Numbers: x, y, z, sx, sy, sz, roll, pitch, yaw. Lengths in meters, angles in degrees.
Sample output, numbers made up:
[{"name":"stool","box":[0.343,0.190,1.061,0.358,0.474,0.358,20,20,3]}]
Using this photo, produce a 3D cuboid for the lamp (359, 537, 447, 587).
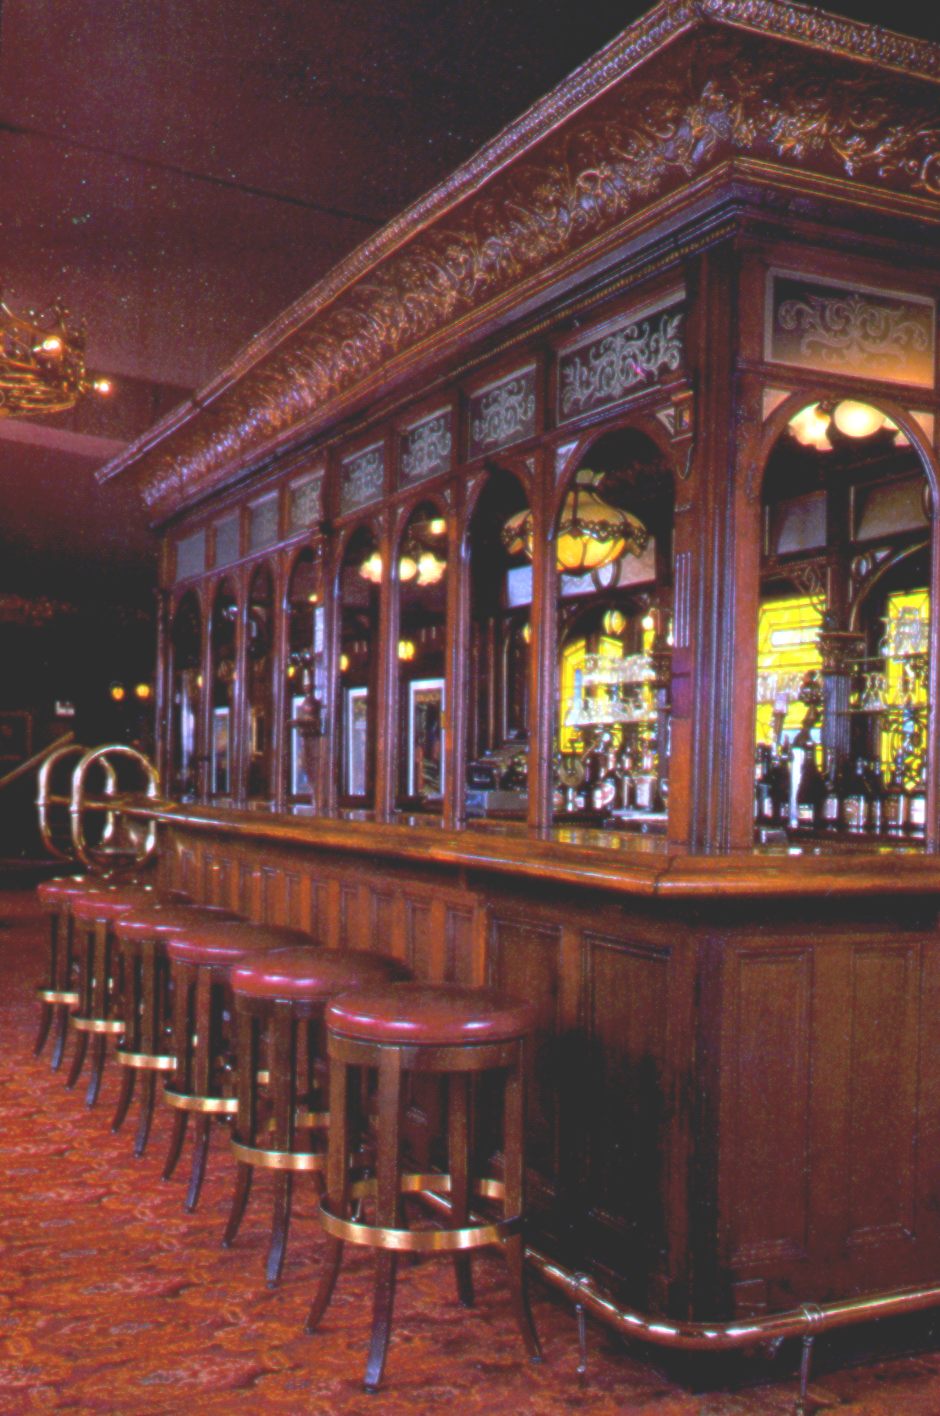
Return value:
[{"name":"lamp","box":[-0.318,-0.700,7.085,0.355,0.194,0.359,0,2,-31]}]

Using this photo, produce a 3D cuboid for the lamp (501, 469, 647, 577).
[{"name":"lamp","box":[0.411,-0.669,5.603,0.527,0.546,0.584,1,-1,-4]}]
